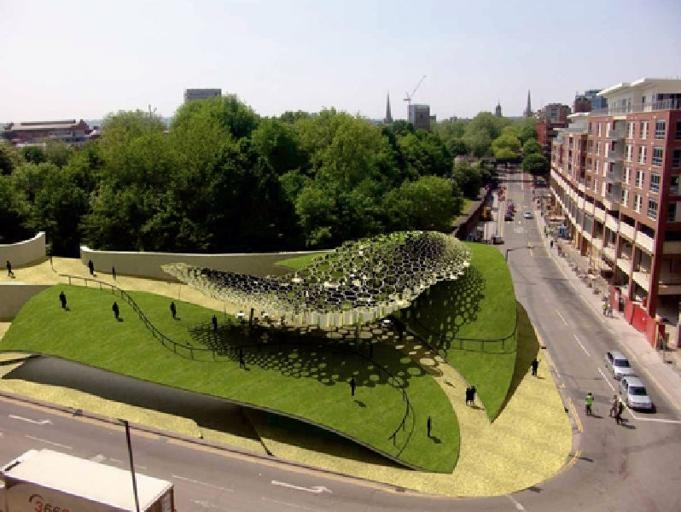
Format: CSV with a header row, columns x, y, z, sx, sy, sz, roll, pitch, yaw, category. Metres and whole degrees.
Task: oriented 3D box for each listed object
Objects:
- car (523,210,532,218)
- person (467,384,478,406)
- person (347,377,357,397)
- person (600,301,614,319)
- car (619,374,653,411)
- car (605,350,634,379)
x,y,z,sx,sy,sz,roll,pitch,yaw,category
46.070,-10.147,143.881,1.384,1.158,3.259,3,18,19,car
12.186,12.901,53.973,1.409,1.619,0.664,-13,17,-39,person
1.144,11.937,52.976,0.830,1.986,0.414,-2,1,0,person
34.025,6.776,74.412,1.299,1.215,2.729,4,15,21,person
27.723,12.849,55.362,1.941,1.743,4.871,2,11,10,car
28.210,11.227,59.340,1.613,1.806,3.139,-2,14,-1,car
